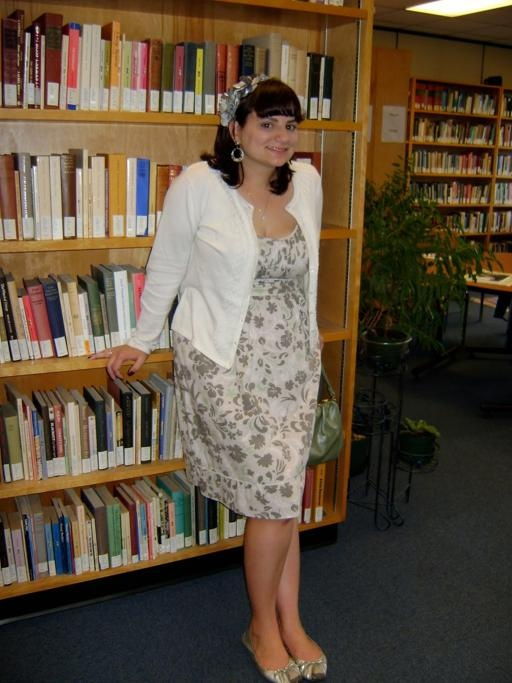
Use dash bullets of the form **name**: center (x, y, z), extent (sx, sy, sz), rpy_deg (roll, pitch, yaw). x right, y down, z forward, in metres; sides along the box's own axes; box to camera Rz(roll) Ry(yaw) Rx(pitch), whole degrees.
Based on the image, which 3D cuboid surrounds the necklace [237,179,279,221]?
- **necklace**: center (0.008, -0.361, 1.462), extent (0.102, 0.096, 0.025), rpy_deg (-10, -9, -33)

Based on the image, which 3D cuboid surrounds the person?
- **person**: center (-0.073, 0.119, 1.490), extent (0.512, 1.558, 0.349), rpy_deg (-1, 9, -5)

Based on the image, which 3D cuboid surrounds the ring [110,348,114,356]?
- **ring**: center (-0.407, 0.033, 1.593), extent (0.013, 0.018, 0.007), rpy_deg (7, 6, 34)
